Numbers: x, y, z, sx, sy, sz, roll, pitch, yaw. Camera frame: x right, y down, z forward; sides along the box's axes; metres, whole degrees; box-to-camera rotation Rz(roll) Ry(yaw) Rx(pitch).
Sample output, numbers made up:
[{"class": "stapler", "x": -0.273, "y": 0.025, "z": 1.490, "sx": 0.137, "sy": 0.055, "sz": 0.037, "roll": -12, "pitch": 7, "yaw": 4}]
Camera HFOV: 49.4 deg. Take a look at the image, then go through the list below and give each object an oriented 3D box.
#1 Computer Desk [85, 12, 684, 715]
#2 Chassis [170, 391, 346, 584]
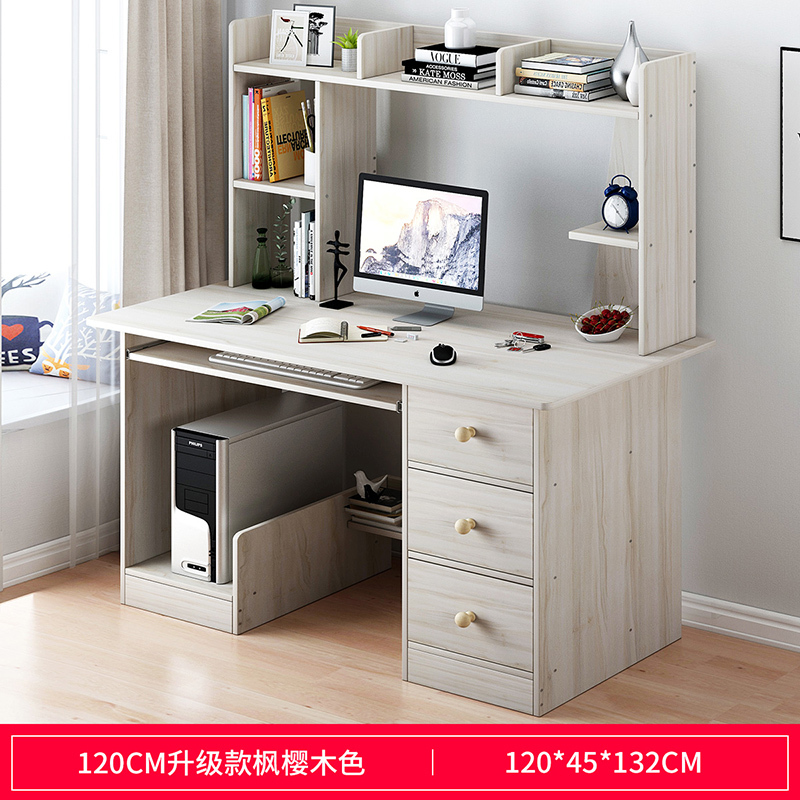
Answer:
[{"class": "Computer Desk", "x": -0.021, "y": -0.107, "z": 2.226, "sx": 1.482, "sy": 1.662, "sz": 0.779, "roll": 9, "pitch": 14, "yaw": 36}, {"class": "Chassis", "x": -0.403, "y": 0.256, "z": 2.406, "sx": 0.168, "sy": 0.362, "sz": 0.481, "roll": 13, "pitch": 21, "yaw": 34}]
